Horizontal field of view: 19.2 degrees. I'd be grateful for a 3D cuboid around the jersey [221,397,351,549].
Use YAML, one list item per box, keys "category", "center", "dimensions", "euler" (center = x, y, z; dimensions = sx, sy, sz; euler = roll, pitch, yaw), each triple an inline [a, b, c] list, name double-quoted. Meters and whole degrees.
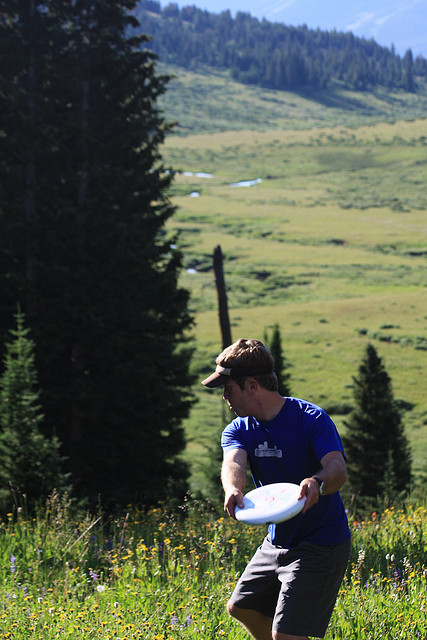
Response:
- category: "jersey"
  center: [1.109, 2.820, 22.850]
  dimensions: [2.307, 2.879, 1.978]
  euler: [2, 4, -18]
